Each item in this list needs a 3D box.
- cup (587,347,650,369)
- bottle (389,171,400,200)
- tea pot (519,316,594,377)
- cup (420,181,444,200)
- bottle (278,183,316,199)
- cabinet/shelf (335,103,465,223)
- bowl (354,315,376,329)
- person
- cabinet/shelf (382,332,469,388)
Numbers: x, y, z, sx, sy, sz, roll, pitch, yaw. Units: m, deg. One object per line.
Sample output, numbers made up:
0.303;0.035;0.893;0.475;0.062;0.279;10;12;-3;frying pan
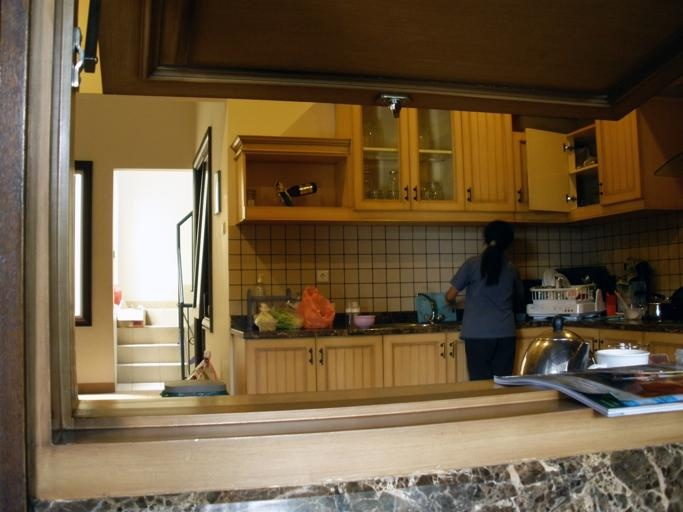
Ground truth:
0.878;0.324;1.900;0.116;0.052;0.106;-4;-4;0;cup
0.392;-0.521;4.437;0.074;0.175;0.033;2;1;-8;bottle
0.649;0.270;1.868;0.170;0.222;0.198;3;-5;-25;tea pot
0.678;-0.462;4.567;0.144;0.167;0.166;-2;0;-21;cup
-0.308;-0.470;4.416;0.220;0.136;0.126;-10;-3;-2;bottle
0.480;-0.706;4.614;0.867;0.855;0.346;0;-7;-14;cabinet/shelf
0.162;0.465;4.248;0.143;0.070;0.154;2;1;0;bowl
1.004;0.312;4.110;0.506;0.970;0.272;2;1;3;person
0.526;0.688;3.980;0.502;0.375;0.294;0;-4;-16;cabinet/shelf
